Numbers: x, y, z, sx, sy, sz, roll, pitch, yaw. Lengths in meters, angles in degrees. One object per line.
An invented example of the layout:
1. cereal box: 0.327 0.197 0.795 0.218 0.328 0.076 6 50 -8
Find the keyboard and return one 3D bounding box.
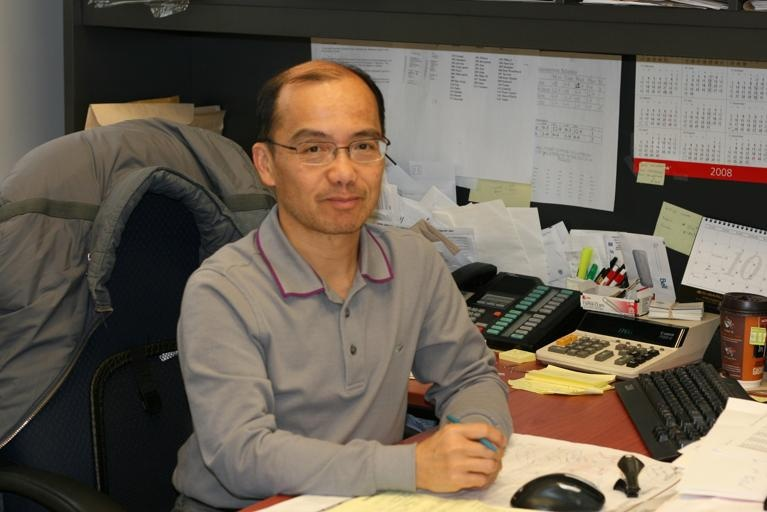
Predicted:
1. keyboard: 0.621 0.312 1.225 0.224 0.054 0.330 -1 14 6

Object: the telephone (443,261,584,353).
1. telephone: 0.380 0.095 1.770 0.385 0.210 0.356 -11 17 -42
